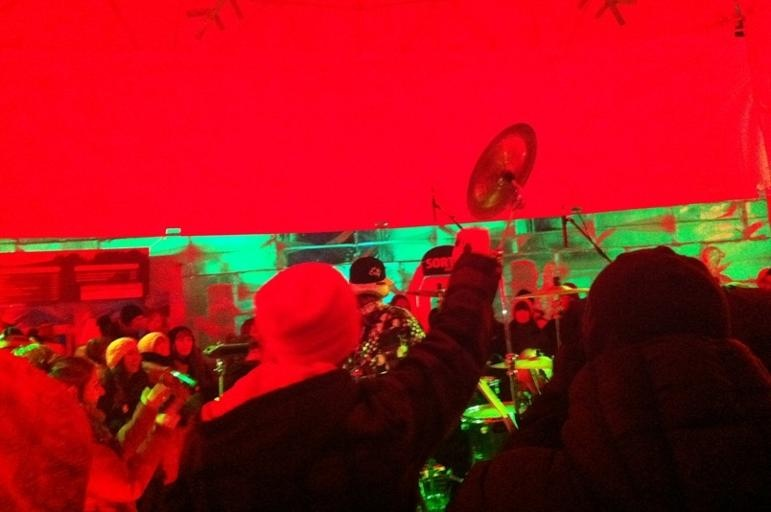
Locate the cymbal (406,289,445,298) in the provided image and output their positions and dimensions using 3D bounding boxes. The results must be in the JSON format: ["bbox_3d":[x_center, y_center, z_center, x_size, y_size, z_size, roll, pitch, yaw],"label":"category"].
[{"bbox_3d":[0.432,0.394,6.103,0.329,0.075,0.280,4,-9,-38],"label":"cymbal"}]

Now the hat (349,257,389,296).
[{"bbox_3d":[-0.141,0.126,4.838,0.400,0.279,0.531,-1,15,-13],"label":"hat"}]

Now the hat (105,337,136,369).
[{"bbox_3d":[-2.746,0.981,6.059,0.097,0.293,0.339,35,-26,-7],"label":"hat"}]
